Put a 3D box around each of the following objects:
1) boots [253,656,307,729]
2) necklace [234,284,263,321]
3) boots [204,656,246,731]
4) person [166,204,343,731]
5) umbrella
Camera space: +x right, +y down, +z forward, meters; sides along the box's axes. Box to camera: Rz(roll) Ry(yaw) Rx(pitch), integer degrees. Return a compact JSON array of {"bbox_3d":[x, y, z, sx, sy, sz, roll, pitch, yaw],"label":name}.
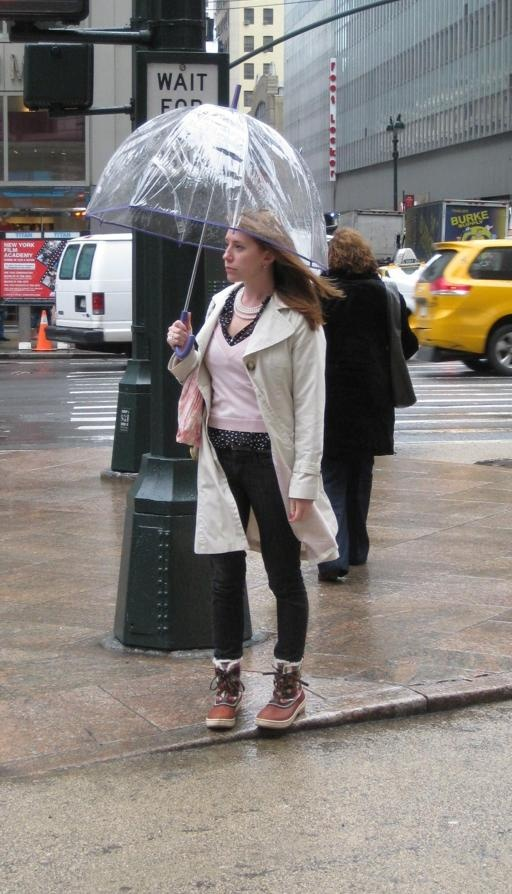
[{"bbox_3d":[0.088,0.837,2.981,0.111,0.202,0.278,-1,2,31],"label":"boots"},{"bbox_3d":[-0.032,-0.468,2.865,0.024,0.113,0.111,-6,45,-35],"label":"necklace"},{"bbox_3d":[-0.106,0.837,3.004,0.100,0.186,0.292,-4,4,9],"label":"boots"},{"bbox_3d":[-0.015,0.091,2.928,0.559,1.688,0.375,1,3,9],"label":"person"},{"bbox_3d":[-0.170,-0.856,3.326,1.000,0.942,0.999,-3,22,-28],"label":"umbrella"}]
